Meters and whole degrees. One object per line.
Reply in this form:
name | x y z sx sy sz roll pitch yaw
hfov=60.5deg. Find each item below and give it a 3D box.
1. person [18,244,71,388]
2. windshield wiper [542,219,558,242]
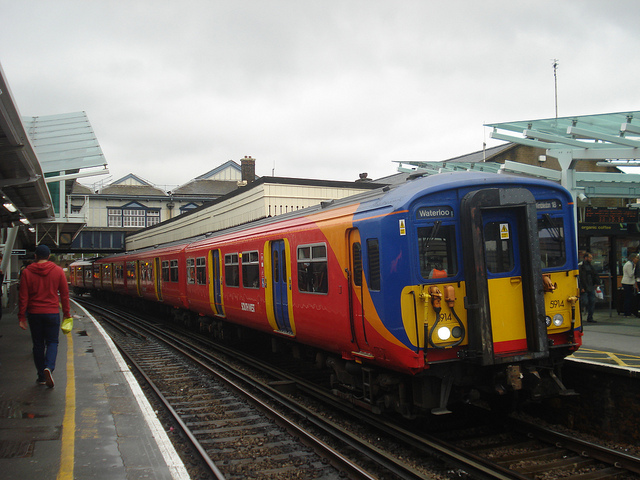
person | -4.501 1.296 9.046 0.724 2.028 0.692 -4 3 -26
windshield wiper | 3.332 -0.134 8.073 0.096 0.437 0.077 -28 -2 -28
